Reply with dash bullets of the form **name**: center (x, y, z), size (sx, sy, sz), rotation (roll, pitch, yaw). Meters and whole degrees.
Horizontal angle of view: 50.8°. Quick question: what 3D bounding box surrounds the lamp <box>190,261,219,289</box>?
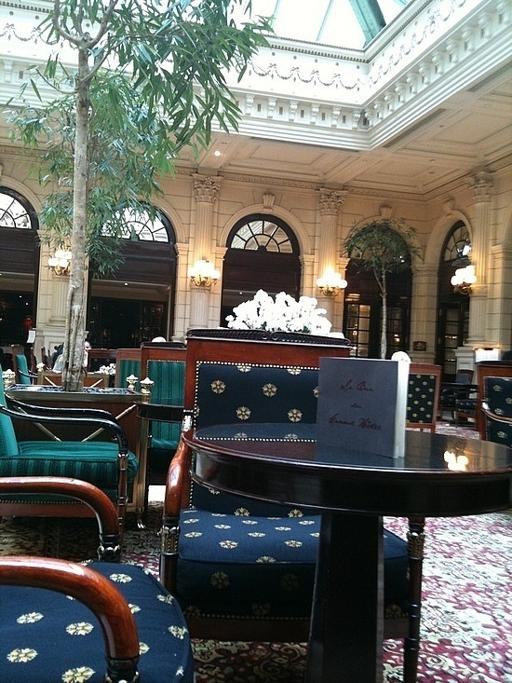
- **lamp**: center (-0.961, -1.284, 10.320), size (0.588, 0.560, 0.456), rotation (3, 1, -7)

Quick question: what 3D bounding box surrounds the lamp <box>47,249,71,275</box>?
- **lamp**: center (-3.426, -1.415, 9.367), size (0.328, 0.319, 0.638), rotation (4, -3, -25)

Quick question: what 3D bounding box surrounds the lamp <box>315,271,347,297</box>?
- **lamp**: center (1.511, -1.123, 10.823), size (0.544, 0.483, 0.547), rotation (1, -10, 24)

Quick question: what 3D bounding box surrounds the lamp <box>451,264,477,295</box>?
- **lamp**: center (3.720, -1.148, 9.774), size (0.374, 0.494, 0.555), rotation (4, -2, -8)
